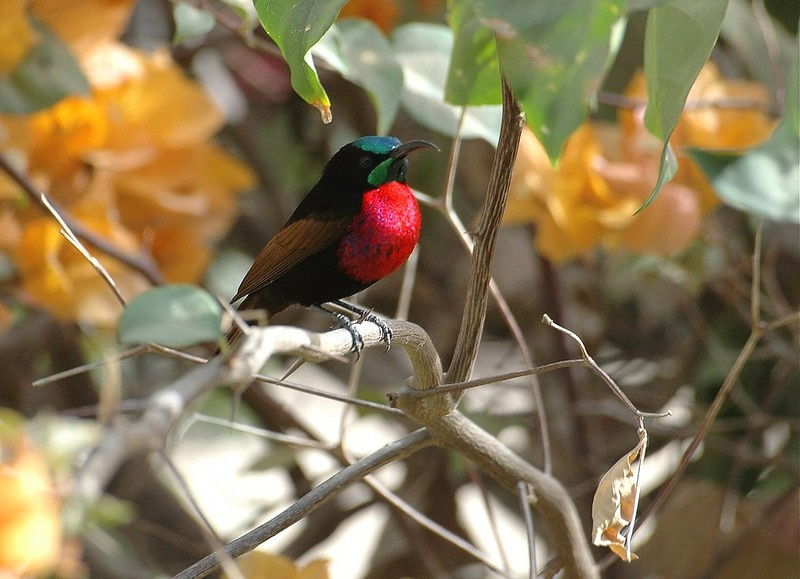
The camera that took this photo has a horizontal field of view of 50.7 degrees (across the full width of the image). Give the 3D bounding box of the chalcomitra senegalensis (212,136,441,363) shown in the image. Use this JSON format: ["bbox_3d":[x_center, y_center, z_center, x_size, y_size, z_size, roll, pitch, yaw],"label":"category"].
[{"bbox_3d":[-0.192,-0.096,1.996,0.602,0.537,0.275,5,5,28],"label":"chalcomitra senegalensis"}]
